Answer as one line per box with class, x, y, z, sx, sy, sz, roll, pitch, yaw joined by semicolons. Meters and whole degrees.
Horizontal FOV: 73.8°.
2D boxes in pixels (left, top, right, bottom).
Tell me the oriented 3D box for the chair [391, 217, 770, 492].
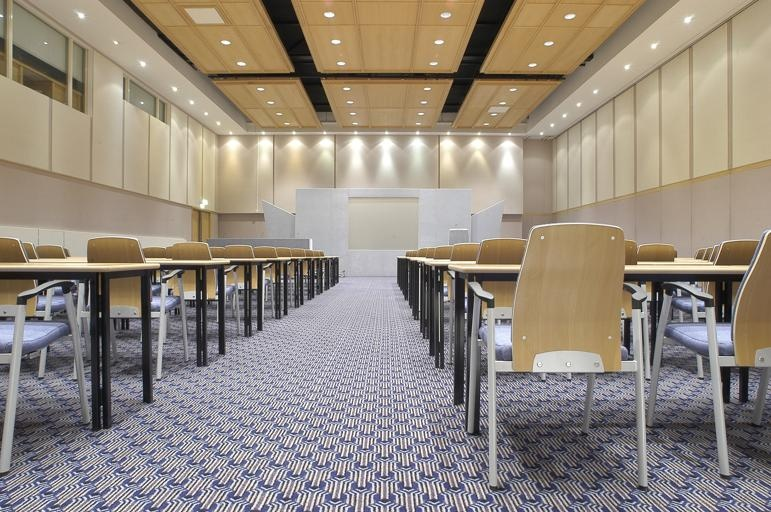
chair;1.381;0.622;3.628;1.797;1.616;1.145;-1;-1;2
